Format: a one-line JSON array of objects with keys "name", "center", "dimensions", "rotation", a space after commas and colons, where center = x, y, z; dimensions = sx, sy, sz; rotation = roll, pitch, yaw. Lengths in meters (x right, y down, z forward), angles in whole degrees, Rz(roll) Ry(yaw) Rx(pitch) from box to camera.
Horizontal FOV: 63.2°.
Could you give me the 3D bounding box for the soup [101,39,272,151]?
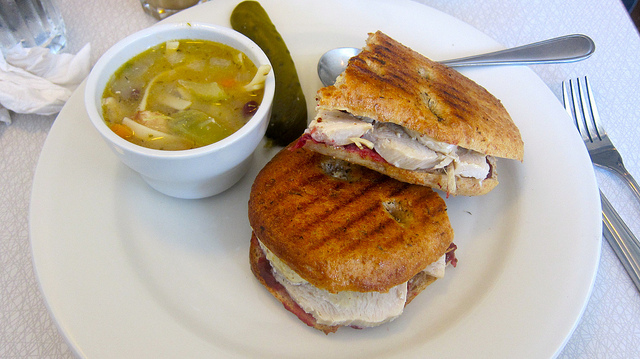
[{"name": "soup", "center": [-1.117, -0.704, 4.234], "dimensions": [1.109, 0.247, 1.181], "rotation": [41, 82, 6]}]
